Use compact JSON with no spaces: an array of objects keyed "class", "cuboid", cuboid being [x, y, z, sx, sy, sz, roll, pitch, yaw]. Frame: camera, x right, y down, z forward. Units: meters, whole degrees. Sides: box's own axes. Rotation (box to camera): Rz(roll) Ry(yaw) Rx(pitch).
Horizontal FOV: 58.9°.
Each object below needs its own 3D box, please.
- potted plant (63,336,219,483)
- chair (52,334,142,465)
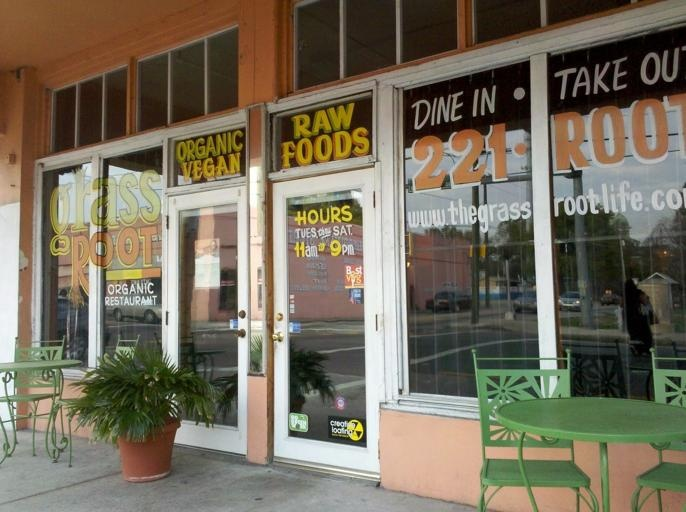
[{"class":"potted plant","cuboid":[-1.784,1.414,5.681,1.112,0.878,1.174,1,-12,2]},{"class":"chair","cuboid":[-2.346,1.407,5.822,0.878,1.152,0.781,-4,-15,11]}]
